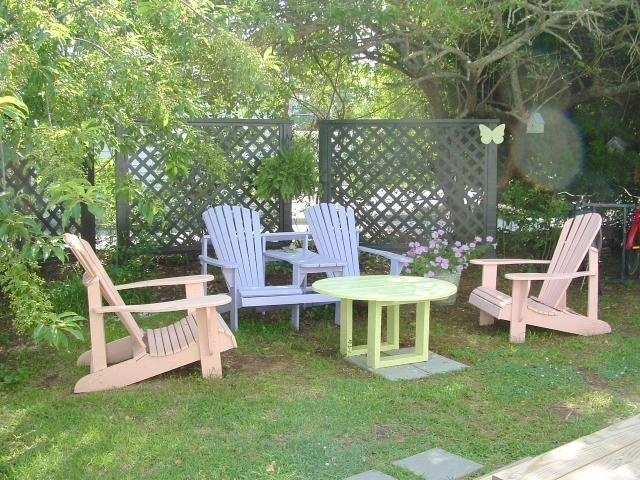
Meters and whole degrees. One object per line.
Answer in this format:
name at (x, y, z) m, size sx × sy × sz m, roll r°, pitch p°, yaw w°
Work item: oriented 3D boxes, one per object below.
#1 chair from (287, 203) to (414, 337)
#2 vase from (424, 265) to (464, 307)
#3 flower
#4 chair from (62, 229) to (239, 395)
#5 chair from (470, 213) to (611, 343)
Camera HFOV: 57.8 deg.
chair at (0.207, 0.112, 5.754) m, size 0.727 × 0.913 × 1.015 m, roll -6°, pitch 13°, yaw -26°
vase at (1.381, 0.495, 6.255) m, size 0.360 × 0.396 × 0.385 m, roll 6°, pitch 8°, yaw 41°
flower at (1.327, 0.157, 6.379) m, size 0.742 × 0.546 × 0.750 m, roll -1°, pitch 6°, yaw -2°
chair at (-1.184, 0.501, 4.156) m, size 1.048 × 0.947 × 0.794 m, roll -2°, pitch 11°, yaw -25°
chair at (2.012, 0.322, 5.233) m, size 1.176 × 1.066 × 0.753 m, roll -2°, pitch 11°, yaw -16°
